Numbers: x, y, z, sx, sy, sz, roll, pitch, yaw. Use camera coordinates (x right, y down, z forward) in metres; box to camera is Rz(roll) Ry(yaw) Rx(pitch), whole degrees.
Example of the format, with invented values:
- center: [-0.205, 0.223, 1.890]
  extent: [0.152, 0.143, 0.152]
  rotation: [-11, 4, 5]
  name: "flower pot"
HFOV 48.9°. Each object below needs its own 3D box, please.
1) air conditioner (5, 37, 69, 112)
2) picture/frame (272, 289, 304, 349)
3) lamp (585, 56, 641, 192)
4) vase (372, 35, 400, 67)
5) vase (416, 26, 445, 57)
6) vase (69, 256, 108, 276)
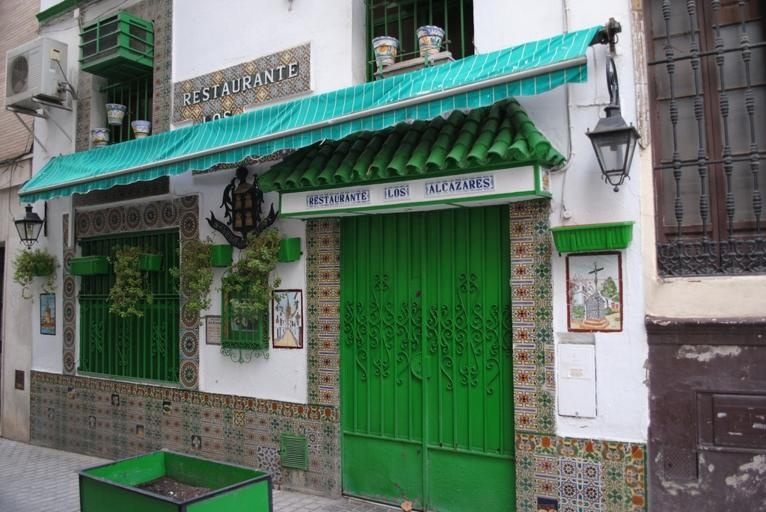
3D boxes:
- center: [-5.992, -3.131, 14.710]
  extent: [1.013, 1.175, 0.568]
  rotation: [-2, -5, 26]
  name: "air conditioner"
- center: [-1.343, 0.919, 12.167]
  extent: [0.664, 1.143, 0.035]
  rotation: [-6, -10, 29]
  name: "picture/frame"
- center: [2.767, -1.642, 10.206]
  extent: [0.590, 1.692, 0.536]
  rotation: [-2, -5, 18]
  name: "lamp"
- center: [0.046, -2.812, 11.554]
  extent: [0.359, 0.416, 0.388]
  rotation: [0, -3, -3]
  name: "vase"
- center: [0.683, -2.867, 11.435]
  extent: [0.433, 0.429, 0.339]
  rotation: [1, -5, -18]
  name: "vase"
- center: [-4.901, 0.187, 14.117]
  extent: [0.516, 0.265, 0.334]
  rotation: [-18, -18, 38]
  name: "vase"
